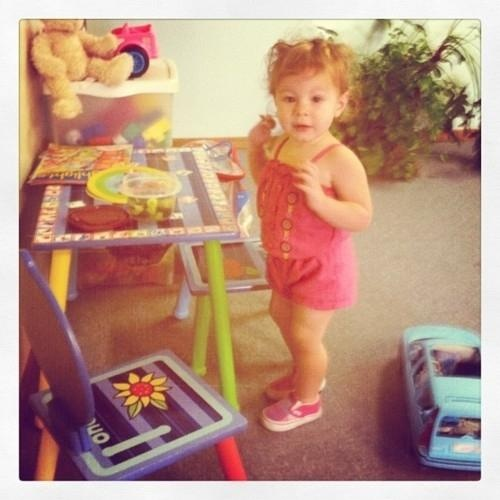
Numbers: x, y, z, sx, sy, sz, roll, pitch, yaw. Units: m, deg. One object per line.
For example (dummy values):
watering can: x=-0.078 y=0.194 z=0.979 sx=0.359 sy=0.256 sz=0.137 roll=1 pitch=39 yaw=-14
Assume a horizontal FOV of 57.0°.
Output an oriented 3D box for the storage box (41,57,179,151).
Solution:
storage box: x=-0.356 y=-0.384 z=1.214 sx=0.280 sy=0.157 sz=0.205 roll=-4 pitch=30 yaw=-4

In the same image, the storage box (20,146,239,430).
storage box: x=-0.256 y=0.163 z=1.218 sx=0.492 sy=0.434 sz=0.569 roll=6 pitch=-8 yaw=-7

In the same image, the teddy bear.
teddy bear: x=-0.418 y=-0.452 z=1.157 sx=0.236 sy=0.225 sz=0.119 roll=-8 pitch=24 yaw=-15

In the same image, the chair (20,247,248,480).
chair: x=-0.235 y=0.252 z=0.976 sx=0.368 sy=0.594 sz=0.352 roll=-12 pitch=25 yaw=-38

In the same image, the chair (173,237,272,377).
chair: x=-0.072 y=0.132 z=1.303 sx=0.334 sy=0.265 sz=0.344 roll=-4 pitch=37 yaw=-8

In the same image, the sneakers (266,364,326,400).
sneakers: x=0.132 y=0.338 z=1.268 sx=0.181 sy=0.067 sz=0.064 roll=-12 pitch=34 yaw=-25

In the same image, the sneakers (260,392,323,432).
sneakers: x=0.105 y=0.416 z=1.207 sx=0.154 sy=0.060 sz=0.074 roll=-9 pitch=43 yaw=-6

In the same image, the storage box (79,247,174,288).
storage box: x=-0.312 y=0.044 z=1.204 sx=0.143 sy=0.059 sz=0.136 roll=-1 pitch=18 yaw=-5

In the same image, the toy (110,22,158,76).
toy: x=-0.293 y=-0.508 z=1.177 sx=0.129 sy=0.104 sz=0.125 roll=-2 pitch=39 yaw=0

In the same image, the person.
person: x=0.142 y=-0.015 z=1.136 sx=0.275 sy=0.924 sz=0.304 roll=-2 pitch=24 yaw=0

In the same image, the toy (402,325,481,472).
toy: x=0.496 y=0.385 z=1.183 sx=0.211 sy=0.350 sz=0.166 roll=-2 pitch=24 yaw=0

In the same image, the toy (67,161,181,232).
toy: x=-0.289 y=-0.114 z=1.055 sx=0.186 sy=0.061 sz=0.176 roll=-7 pitch=39 yaw=-14
